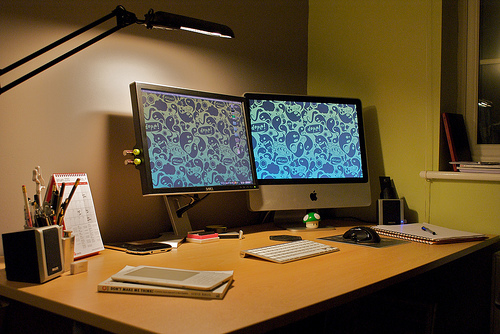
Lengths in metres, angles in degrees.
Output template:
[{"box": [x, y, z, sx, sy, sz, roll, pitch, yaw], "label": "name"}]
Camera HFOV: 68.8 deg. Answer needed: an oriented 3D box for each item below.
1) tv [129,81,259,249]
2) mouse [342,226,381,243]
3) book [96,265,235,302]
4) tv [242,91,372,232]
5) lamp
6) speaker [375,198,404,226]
[{"box": [-0.283, -0.014, 1.747, 0.814, 0.809, 0.346, 2, -3, -44], "label": "tv"}, {"box": [0.516, 0.304, 1.681, 0.111, 0.039, 0.079, -4, -3, 36], "label": "mouse"}, {"box": [-0.274, 0.386, 1.196, 0.422, 0.104, 0.129, -7, 0, 4], "label": "book"}, {"box": [0.291, -0.024, 2.076, 0.761, 0.725, 0.246, 0, -3, -23], "label": "tv"}, {"box": [-0.550, -0.538, 1.603, 0.978, 0.412, 0.290, -7, 0, -29], "label": "lamp"}, {"box": [0.758, 0.245, 1.972, 0.149, 0.149, 0.081, 0, 1, -3], "label": "speaker"}]
